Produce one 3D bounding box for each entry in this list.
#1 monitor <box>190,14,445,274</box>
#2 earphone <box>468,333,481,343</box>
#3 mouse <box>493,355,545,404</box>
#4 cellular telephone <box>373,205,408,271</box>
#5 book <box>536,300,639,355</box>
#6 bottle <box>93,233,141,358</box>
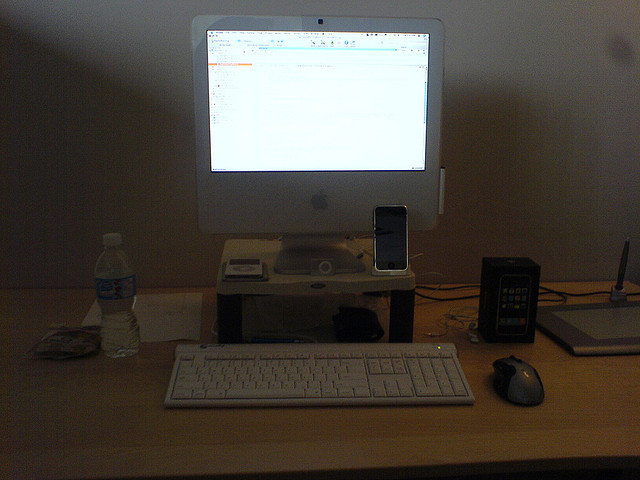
[{"bbox_3d":[-0.002,-0.242,1.433,0.593,0.624,0.199,-1,10,-4],"label":"monitor"},{"bbox_3d":[0.373,0.234,1.445,0.019,0.005,0.020,14,30,10],"label":"earphone"},{"bbox_3d":[0.425,0.287,1.297,0.098,0.053,0.163,0,12,-2],"label":"mouse"},{"bbox_3d":[0.164,-0.003,1.415,0.078,0.146,0.057,1,9,2],"label":"cellular telephone"},{"bbox_3d":[0.705,0.215,1.491,0.331,0.057,0.236,-1,10,-9],"label":"book"},{"bbox_3d":[-0.516,0.100,1.527,0.107,0.269,0.421,-3,10,-20],"label":"bottle"}]
